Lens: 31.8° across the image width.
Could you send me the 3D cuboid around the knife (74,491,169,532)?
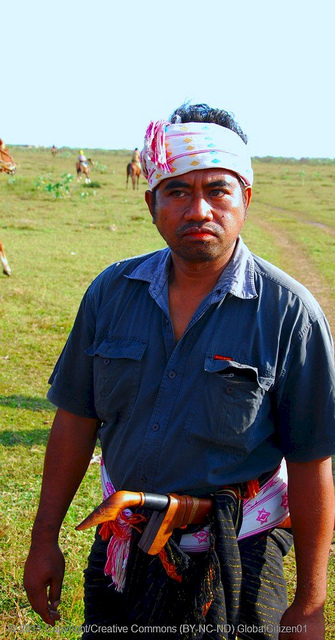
[{"bbox_3d":[-0.143,0.556,1.724,0.281,0.129,0.115,-1,11,-26],"label":"knife"}]
